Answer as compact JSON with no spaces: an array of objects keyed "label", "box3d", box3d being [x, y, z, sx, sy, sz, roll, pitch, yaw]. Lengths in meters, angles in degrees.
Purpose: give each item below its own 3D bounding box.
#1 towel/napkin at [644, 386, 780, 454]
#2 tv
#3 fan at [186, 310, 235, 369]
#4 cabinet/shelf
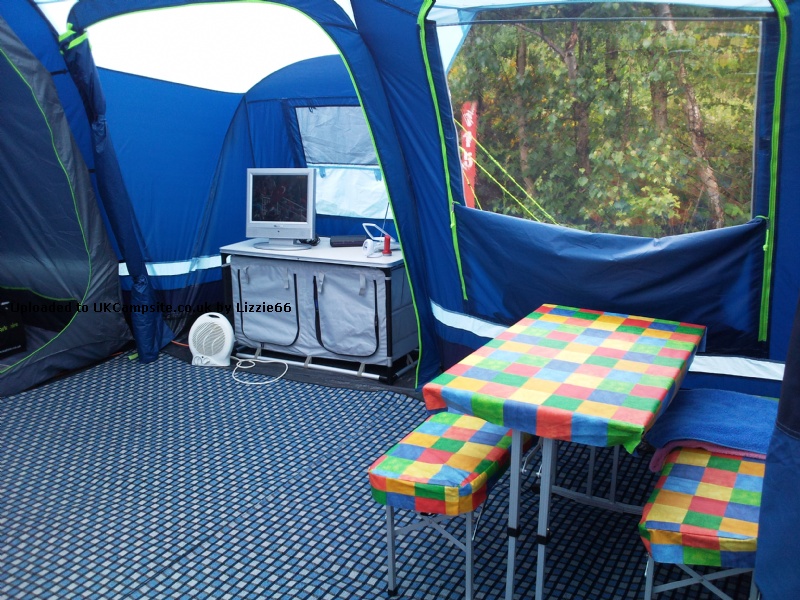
[{"label":"towel/napkin","box3d":[1.668,0.631,3.572,0.430,0.122,0.421,10,30,33]},{"label":"tv","box3d":[-1.042,-0.823,6.038,0.633,0.683,0.406,3,9,13]},{"label":"fan","box3d":[-1.672,0.365,6.007,0.412,0.510,0.277,4,11,5]},{"label":"cabinet/shelf","box3d":[-0.689,0.081,6.065,1.620,1.017,0.733,5,12,25]}]
